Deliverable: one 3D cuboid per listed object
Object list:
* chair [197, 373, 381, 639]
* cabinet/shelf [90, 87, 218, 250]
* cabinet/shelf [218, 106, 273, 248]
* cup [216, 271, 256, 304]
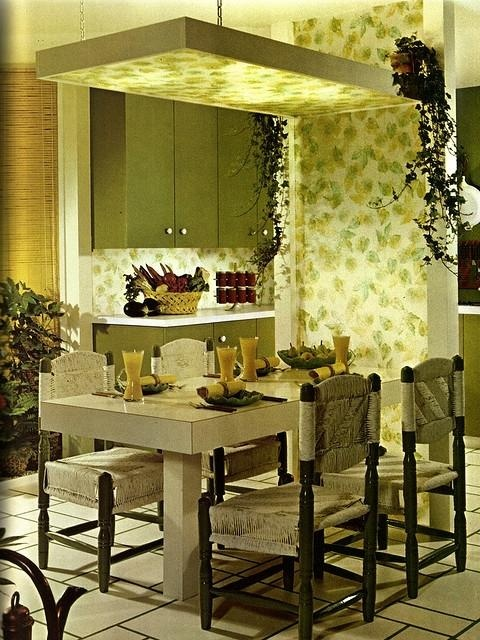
[{"bbox_3d":[0.173,0.652,2.202,0.536,0.923,0.529,-1,2,42],"label":"chair"},{"bbox_3d":[-0.646,-1.069,4.277,1.222,1.138,0.378,-1,3,-44],"label":"cabinet/shelf"},{"bbox_3d":[0.042,-1.137,5.022,0.260,1.086,0.581,-1,2,27],"label":"cabinet/shelf"},{"bbox_3d":[-0.027,-0.255,5.027,0.333,0.278,0.170,-2,1,-2],"label":"cup"}]
